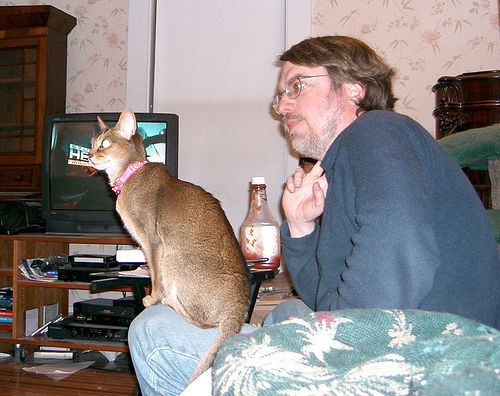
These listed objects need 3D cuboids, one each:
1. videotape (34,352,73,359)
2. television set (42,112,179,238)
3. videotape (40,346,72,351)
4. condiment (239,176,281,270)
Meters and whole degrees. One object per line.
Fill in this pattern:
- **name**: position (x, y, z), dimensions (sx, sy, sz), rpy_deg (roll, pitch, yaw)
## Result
- **videotape**: position (-1.028, 0.830, 2.525), dimensions (0.085, 0.017, 0.084), rpy_deg (1, -3, 5)
- **television set**: position (-0.760, -0.128, 2.755), dimensions (0.740, 0.664, 0.408), rpy_deg (2, 6, 1)
- **videotape**: position (-1.003, 0.775, 2.472), dimensions (0.105, 0.024, 0.104), rpy_deg (0, -5, 4)
- **condiment**: position (0.059, 0.115, 2.235), dimensions (0.174, 0.438, 0.193), rpy_deg (-4, 0, -11)
